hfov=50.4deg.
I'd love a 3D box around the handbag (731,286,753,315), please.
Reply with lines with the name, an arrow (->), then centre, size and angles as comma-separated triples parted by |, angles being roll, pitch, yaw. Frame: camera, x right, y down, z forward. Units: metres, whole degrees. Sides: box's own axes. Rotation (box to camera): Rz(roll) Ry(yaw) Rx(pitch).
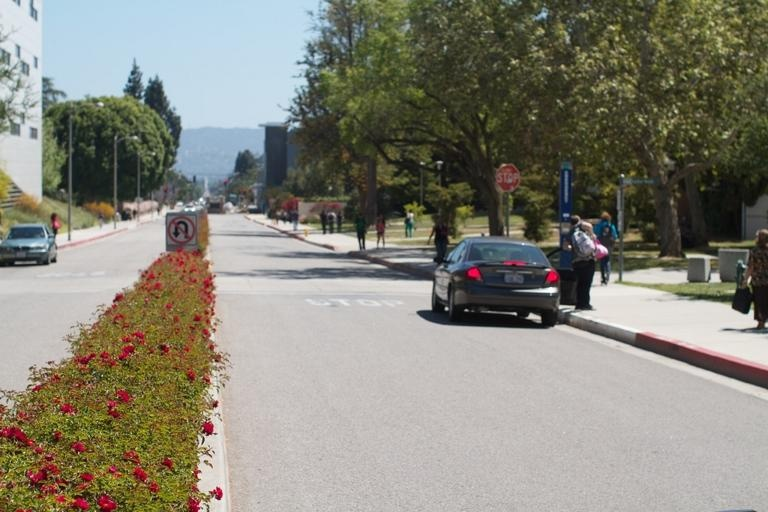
handbag -> 7.231, 0.902, 16.464 | 0.168, 0.589, 0.410 | -4, 35, -29

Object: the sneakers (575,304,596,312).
sneakers -> 4.635, 1.158, 18.704 | 0.387, 0.197, 0.157 | -2, 7, -6

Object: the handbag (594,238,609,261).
handbag -> 5.788, -0.191, 21.740 | 0.535, 0.350, 0.735 | 8, 0, 22

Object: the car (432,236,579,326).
car -> 2.506, 0.542, 18.116 | 2.690, 1.869, 1.595 | 2, 3, 14
